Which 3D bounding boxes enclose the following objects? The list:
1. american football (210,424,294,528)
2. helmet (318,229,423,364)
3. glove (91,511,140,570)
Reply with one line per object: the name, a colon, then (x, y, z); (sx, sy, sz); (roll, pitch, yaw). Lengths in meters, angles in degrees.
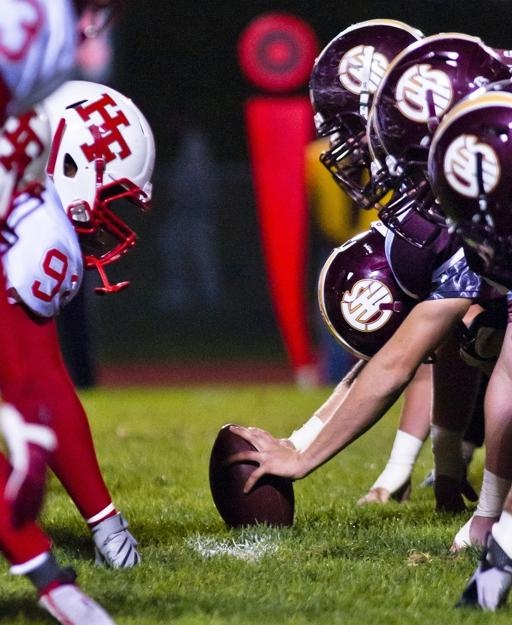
american football: (-0.035, 0.375, 2.149); (0.208, 0.160, 0.277); (-6, 3, -18)
helmet: (0.333, -0.025, 2.167); (0.329, 0.255, 0.239); (6, 2, 22)
glove: (-0.309, 0.491, 1.752); (0.063, 0.090, 0.096); (-2, -14, 4)
